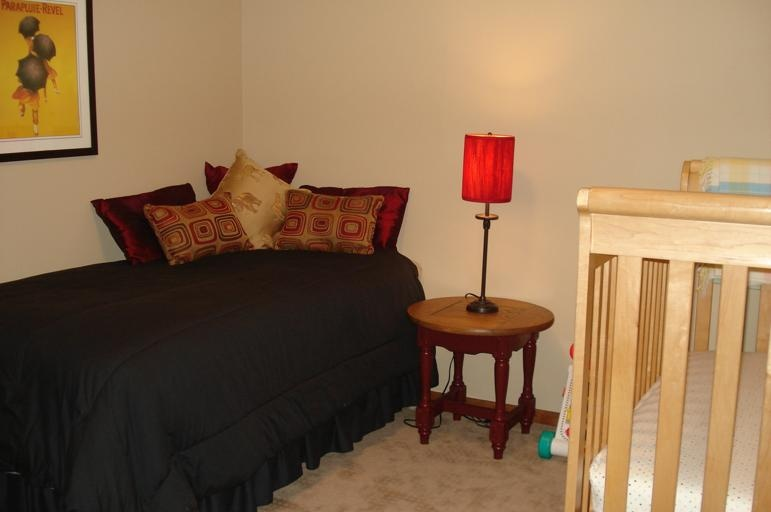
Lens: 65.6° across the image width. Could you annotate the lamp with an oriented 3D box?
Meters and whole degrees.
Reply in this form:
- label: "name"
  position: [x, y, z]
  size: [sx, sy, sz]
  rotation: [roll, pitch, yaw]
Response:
- label: "lamp"
  position: [0.595, -0.210, 3.591]
  size: [0.288, 1.029, 0.489]
  rotation: [5, 15, 17]
